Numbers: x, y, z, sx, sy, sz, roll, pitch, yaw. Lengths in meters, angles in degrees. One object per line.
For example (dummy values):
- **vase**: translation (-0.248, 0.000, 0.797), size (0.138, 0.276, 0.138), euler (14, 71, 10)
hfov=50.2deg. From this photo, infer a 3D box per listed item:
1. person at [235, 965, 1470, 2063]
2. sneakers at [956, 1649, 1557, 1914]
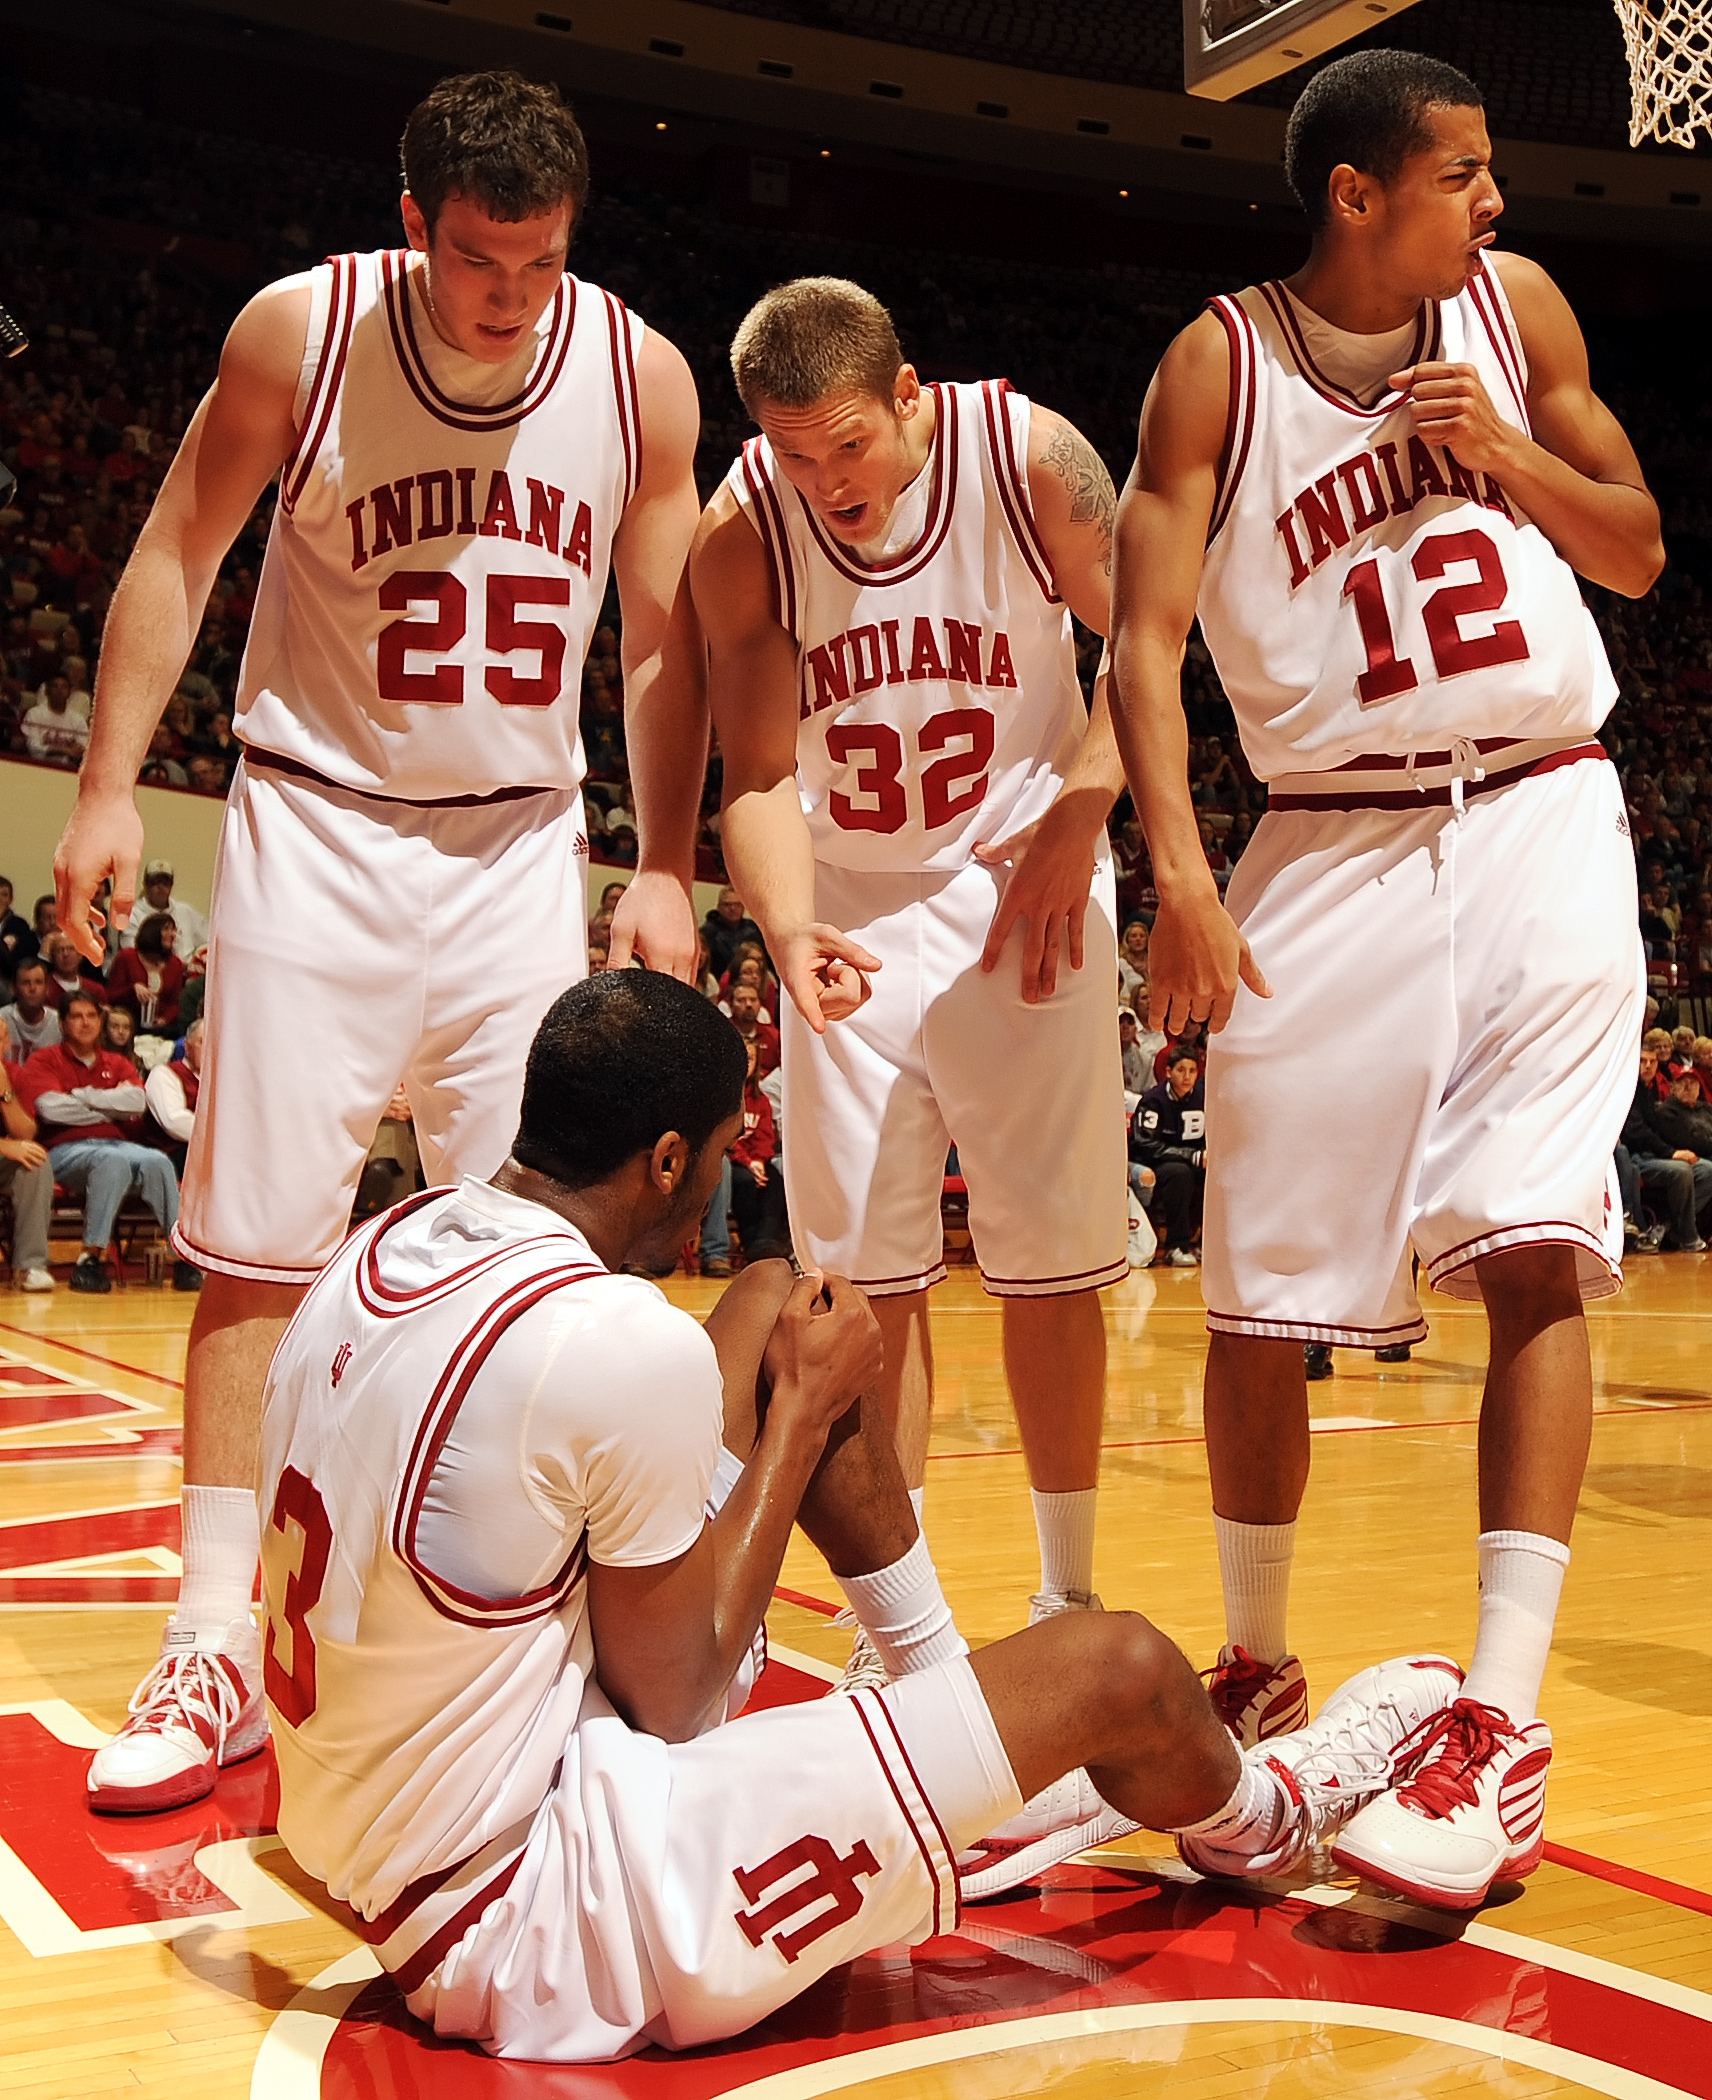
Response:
- **person**: translation (0.023, 0.348, 1.510), size (0.962, 0.746, 0.501), euler (-1, 6, -22)
- **sneakers**: translation (0.443, 0.658, 1.692), size (0.667, 0.275, 0.218), euler (14, -5, -34)
